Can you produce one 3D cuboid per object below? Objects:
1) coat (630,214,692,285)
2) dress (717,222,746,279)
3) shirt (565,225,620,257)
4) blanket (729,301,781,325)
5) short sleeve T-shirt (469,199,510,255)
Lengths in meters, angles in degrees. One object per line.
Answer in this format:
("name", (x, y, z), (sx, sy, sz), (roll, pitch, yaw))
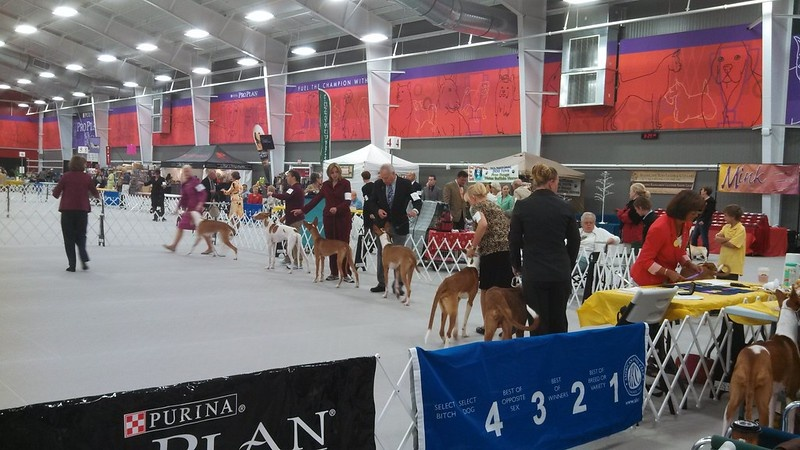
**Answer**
("coat", (3.823, 0.354, 8.059), (0.834, 1.027, 0.367), (-3, 4, -18))
("dress", (6.343, 0.473, 10.570), (0.458, 1.026, 0.550), (0, 4, 30))
("shirt", (3.527, 0.315, 10.142), (0.194, 0.334, 0.637), (26, -16, -21))
("blanket", (4.802, 1.159, 7.422), (0.433, 0.119, 0.441), (0, 0, 12))
("short sleeve T-shirt", (1.413, 0.046, 8.703), (0.563, 0.871, 0.303), (-1, 4, 6))
